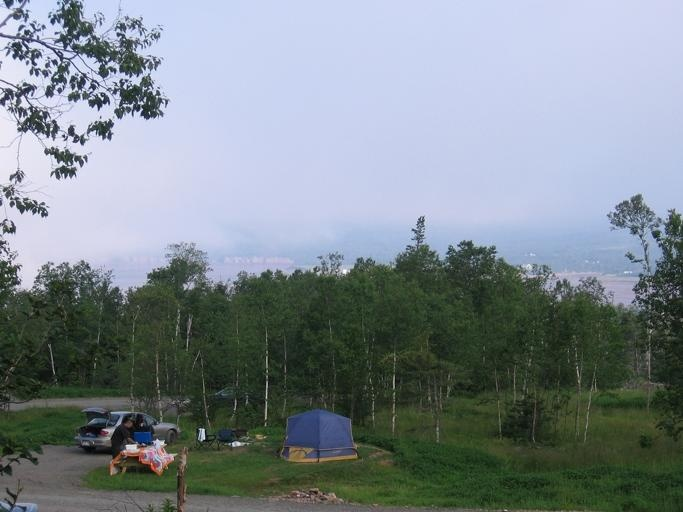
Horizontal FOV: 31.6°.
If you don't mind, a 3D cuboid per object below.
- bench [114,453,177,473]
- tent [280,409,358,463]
[{"bbox_3d":[-16.989,17.781,102.199,5.073,1.861,1.316,4,-11,-12],"label":"bench"},{"bbox_3d":[-2.102,16.776,111.224,5.366,4.318,7.083,0,-8,-44],"label":"tent"}]
